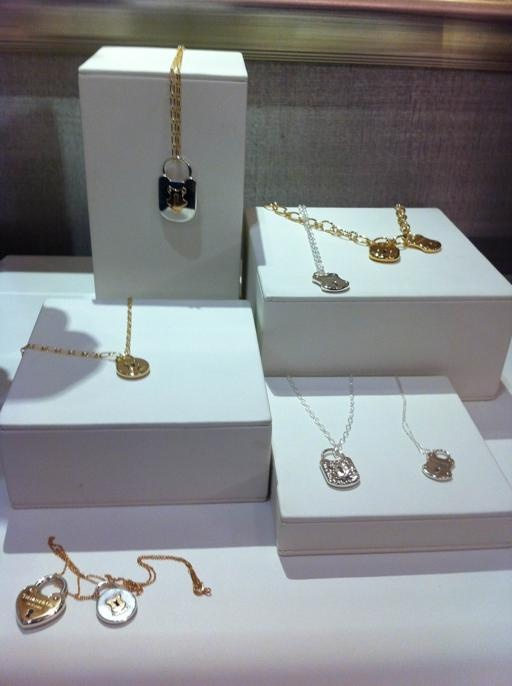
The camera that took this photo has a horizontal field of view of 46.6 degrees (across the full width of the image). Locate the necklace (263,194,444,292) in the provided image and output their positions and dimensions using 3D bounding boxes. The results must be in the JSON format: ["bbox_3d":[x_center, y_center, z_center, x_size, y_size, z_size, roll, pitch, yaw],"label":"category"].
[{"bbox_3d":[0.253,-0.243,1.383,0.367,0.069,0.471,-4,27,-12],"label":"necklace"}]

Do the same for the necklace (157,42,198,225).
[{"bbox_3d":[-0.161,-0.386,1.196,0.079,0.305,0.042,-3,29,-8],"label":"necklace"}]

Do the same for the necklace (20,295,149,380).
[{"bbox_3d":[-0.307,0.008,1.087,0.210,0.047,0.230,9,-6,-2],"label":"necklace"}]

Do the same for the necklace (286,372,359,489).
[{"bbox_3d":[0.140,0.177,1.049,0.096,0.022,0.179,0,52,-6],"label":"necklace"}]
